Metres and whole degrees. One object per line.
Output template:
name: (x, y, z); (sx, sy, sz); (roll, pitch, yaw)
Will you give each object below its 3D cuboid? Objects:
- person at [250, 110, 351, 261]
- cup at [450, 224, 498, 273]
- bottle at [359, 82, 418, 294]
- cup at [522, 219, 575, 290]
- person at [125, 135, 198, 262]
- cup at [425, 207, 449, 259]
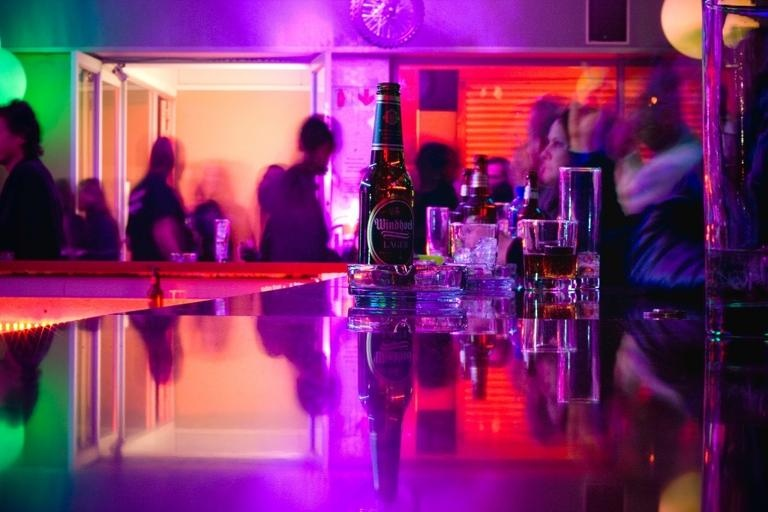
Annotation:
person: (-0.520, -0.422, 5.337); (0.518, 0.891, 0.264); (0, 3, 9)
cup: (0.220, -0.018, 2.143); (0.110, 0.111, 0.113); (2, -3, 0)
bottle: (-0.004, -0.134, 1.692); (0.124, 0.399, 0.145); (0, 3, -2)
cup: (0.361, -0.003, 1.913); (0.131, 0.163, 0.142); (0, -1, 0)
person: (-1.444, -0.379, 5.546); (0.387, 0.790, 0.465); (-1, 3, -22)
cup: (0.174, -0.080, 2.816); (0.072, 0.155, 0.233); (0, 3, 4)
